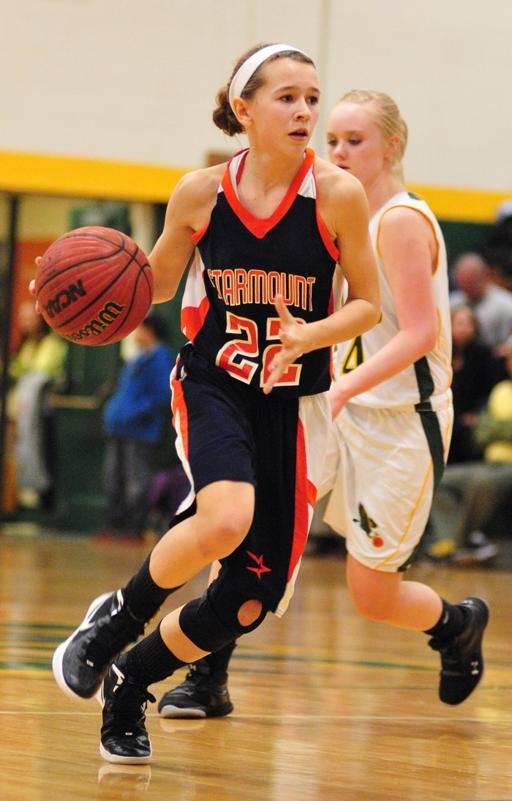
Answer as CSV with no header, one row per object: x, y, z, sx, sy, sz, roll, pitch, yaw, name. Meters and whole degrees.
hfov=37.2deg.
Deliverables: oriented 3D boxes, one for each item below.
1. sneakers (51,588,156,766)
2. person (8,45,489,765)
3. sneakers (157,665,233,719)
-0.255,0.433,1.334,0.125,0.344,0.151,9,-38,-37,sneakers
-0.034,-0.008,1.415,0.510,1.260,0.359,-8,-16,39,person
-0.141,0.688,1.801,0.201,0.125,0.091,15,-28,-37,sneakers
